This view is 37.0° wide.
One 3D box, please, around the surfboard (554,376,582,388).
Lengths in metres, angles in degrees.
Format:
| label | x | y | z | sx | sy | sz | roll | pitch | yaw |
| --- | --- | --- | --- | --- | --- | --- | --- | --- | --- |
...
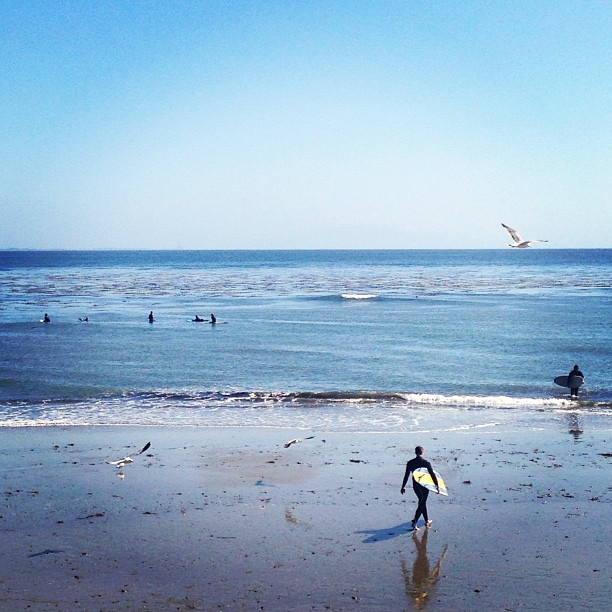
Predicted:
| label | x | y | z | sx | sy | sz | roll | pitch | yaw |
| --- | --- | --- | --- | --- | --- | --- | --- | --- | --- |
| surfboard | 11.688 | 3.322 | 40.338 | 0.412 | 0.646 | 1.514 | -2 | 6 | -16 |

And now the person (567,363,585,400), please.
| label | x | y | z | sx | sy | sz | roll | pitch | yaw |
| --- | --- | --- | --- | --- | --- | --- | --- | --- | --- |
| person | 11.868 | 3.356 | 40.118 | 0.666 | 1.546 | 0.893 | 2 | 7 | 14 |

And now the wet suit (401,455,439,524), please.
| label | x | y | z | sx | sy | sz | roll | pitch | yaw |
| --- | --- | --- | --- | --- | --- | --- | --- | --- | --- |
| wet suit | 3.176 | 5.037 | 25.303 | 0.955 | 1.927 | 1.009 | -1 | 7 | -9 |

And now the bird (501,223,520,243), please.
| label | x | y | z | sx | sy | sz | roll | pitch | yaw |
| --- | --- | --- | --- | --- | --- | --- | --- | --- | --- |
| bird | 6.775 | -2.336 | 29.772 | 0.495 | 0.532 | 1.649 | 1 | 5 | 12 |

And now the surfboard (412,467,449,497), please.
| label | x | y | z | sx | sy | sz | roll | pitch | yaw |
| --- | --- | --- | --- | --- | --- | --- | --- | --- | --- |
| surfboard | 3.498 | 4.982 | 25.748 | 1.597 | 0.480 | 0.165 | 25 | -25 | -19 |
